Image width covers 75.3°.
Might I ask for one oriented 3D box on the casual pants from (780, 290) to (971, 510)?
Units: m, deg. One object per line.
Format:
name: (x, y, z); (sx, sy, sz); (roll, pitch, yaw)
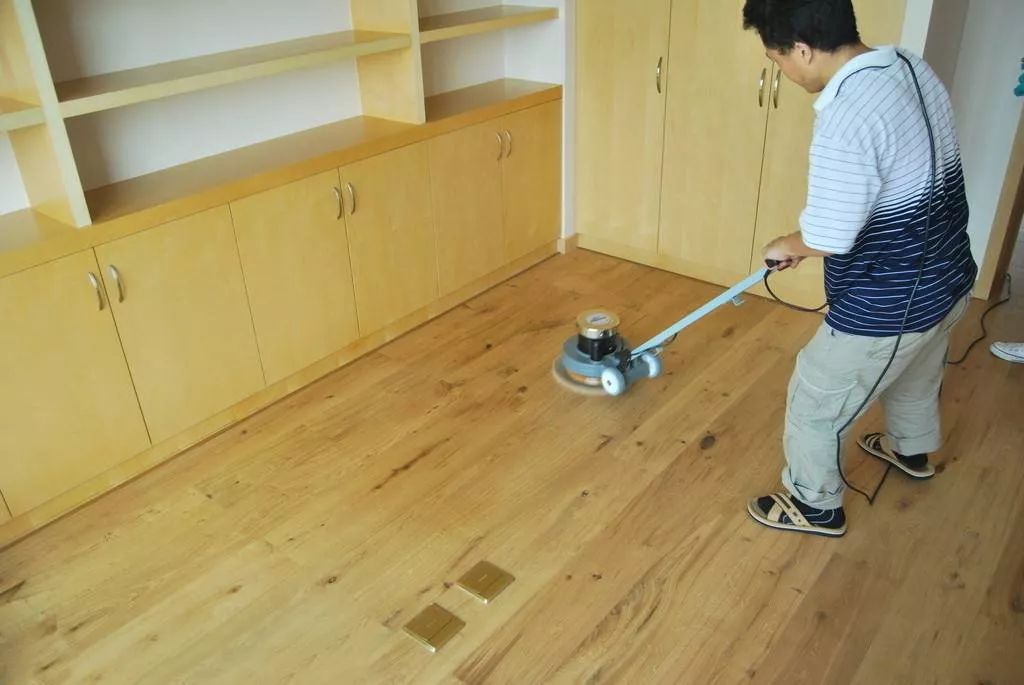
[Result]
casual pants: (1.495, 0.282, 2.703); (0.686, 0.848, 0.342); (-26, 48, -15)

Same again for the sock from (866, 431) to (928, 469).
sock: (1.703, 0.504, 3.008); (0.111, 0.094, 0.267); (-27, 37, -27)

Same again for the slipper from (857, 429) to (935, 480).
slipper: (1.706, 0.509, 3.035); (0.130, 0.142, 0.326); (-28, 39, -24)

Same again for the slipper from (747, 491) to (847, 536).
slipper: (1.177, 0.725, 2.755); (0.365, 0.145, 0.161); (11, 40, 18)

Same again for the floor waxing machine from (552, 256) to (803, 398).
floor waxing machine: (0.650, -0.079, 3.403); (1.393, 0.680, 0.535); (8, 35, 37)

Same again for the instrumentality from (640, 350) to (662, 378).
instrumentality: (0.697, 0.114, 3.318); (0.093, 0.130, 0.065); (-11, 38, -9)

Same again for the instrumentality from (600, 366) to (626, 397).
instrumentality: (0.497, 0.190, 3.257); (0.111, 0.103, 0.106); (-19, 48, -32)
